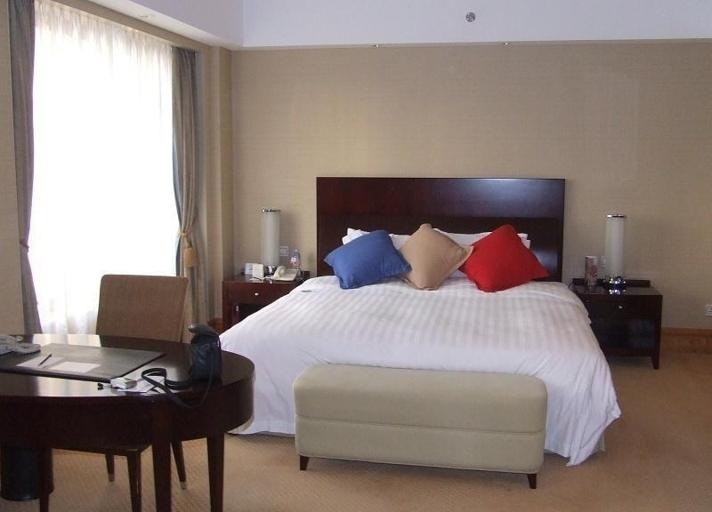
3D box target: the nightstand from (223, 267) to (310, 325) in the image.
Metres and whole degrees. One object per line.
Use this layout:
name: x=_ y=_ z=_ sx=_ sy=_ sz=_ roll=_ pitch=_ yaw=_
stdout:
nightstand: x=-0.977 y=0.291 z=6.235 sx=0.581 sy=0.517 sz=0.643 roll=1 pitch=8 yaw=10

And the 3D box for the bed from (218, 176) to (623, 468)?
bed: x=0.774 y=0.340 z=5.012 sx=2.328 sy=1.631 sz=2.310 roll=1 pitch=6 yaw=13

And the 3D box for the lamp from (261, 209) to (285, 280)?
lamp: x=-0.866 y=-0.130 z=6.241 sx=0.164 sy=0.646 sz=0.175 roll=-2 pitch=-25 yaw=-10

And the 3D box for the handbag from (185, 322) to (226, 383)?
handbag: x=-0.731 y=0.465 z=3.031 sx=0.196 sy=0.330 sz=0.275 roll=-2 pitch=6 yaw=-15
